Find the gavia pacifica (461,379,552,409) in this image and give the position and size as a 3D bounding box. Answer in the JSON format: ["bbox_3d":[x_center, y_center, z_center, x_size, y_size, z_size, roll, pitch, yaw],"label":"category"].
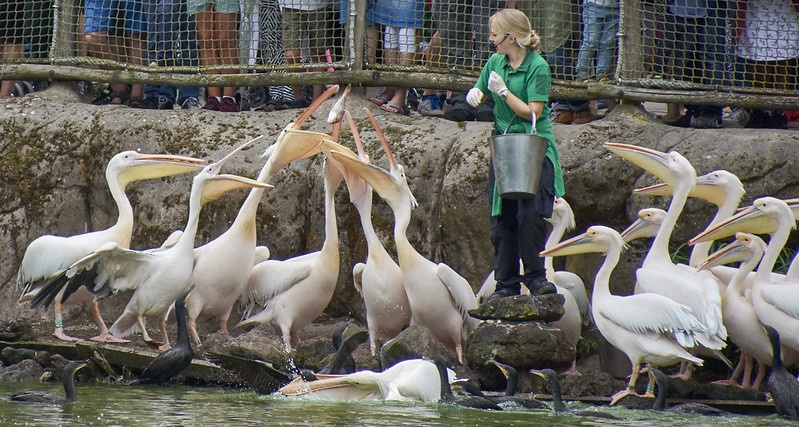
[{"bbox_3d":[1.503,2.612,22.634,1.477,0.482,0.678,0,0,11],"label":"gavia pacifica"}]

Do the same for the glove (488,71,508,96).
[{"bbox_3d":[1.370,-1.845,23.465,0.134,0.332,0.255,-36,-15,25],"label":"glove"}]

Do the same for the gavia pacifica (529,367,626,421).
[{"bbox_3d":[2.398,2.495,22.442,1.206,0.527,0.377,7,10,30],"label":"gavia pacifica"}]

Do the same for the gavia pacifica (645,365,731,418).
[{"bbox_3d":[3.998,2.460,22.780,1.021,0.573,0.616,4,9,11],"label":"gavia pacifica"}]

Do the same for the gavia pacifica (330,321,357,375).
[{"bbox_3d":[-0.824,1.990,23.975,0.347,0.912,0.206,7,5,-24],"label":"gavia pacifica"}]
